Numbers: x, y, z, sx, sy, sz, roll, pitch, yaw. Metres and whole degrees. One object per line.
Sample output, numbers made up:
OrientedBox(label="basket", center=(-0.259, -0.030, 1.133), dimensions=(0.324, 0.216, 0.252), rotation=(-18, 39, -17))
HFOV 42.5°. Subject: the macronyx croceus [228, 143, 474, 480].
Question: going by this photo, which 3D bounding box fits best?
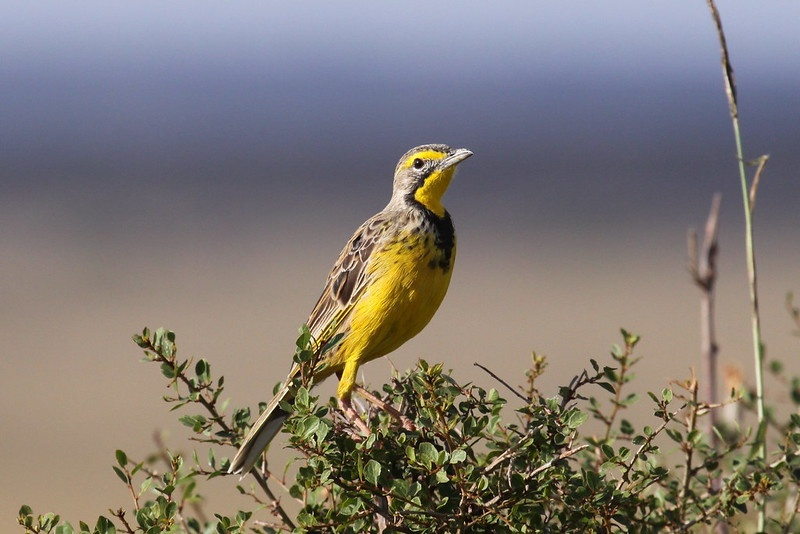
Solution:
OrientedBox(label="macronyx croceus", center=(-0.123, 0.189, 4.346), dimensions=(0.802, 1.830, 0.728), rotation=(1, -38, 7))
